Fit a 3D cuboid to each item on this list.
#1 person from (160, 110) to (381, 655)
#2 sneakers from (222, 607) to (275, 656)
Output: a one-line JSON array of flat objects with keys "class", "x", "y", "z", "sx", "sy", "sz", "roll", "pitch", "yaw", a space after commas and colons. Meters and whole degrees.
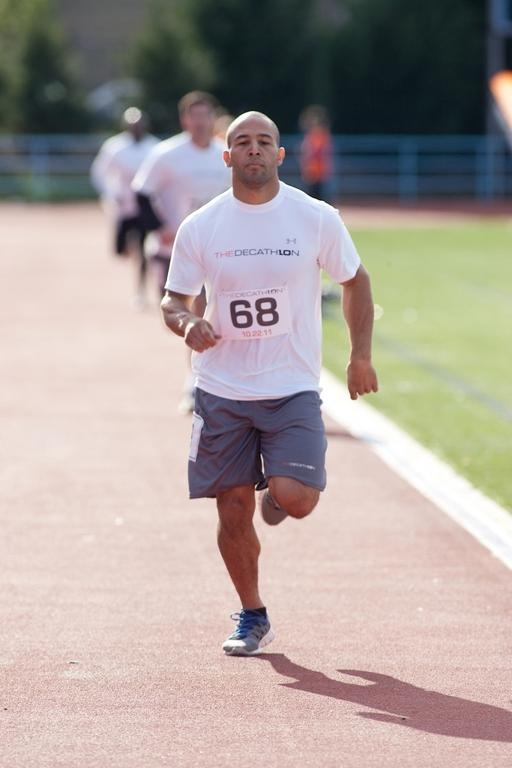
[{"class": "person", "x": 0.050, "y": -0.003, "z": 3.398, "sx": 0.712, "sy": 1.757, "sz": 0.460, "roll": -2, "pitch": 12, "yaw": -4}, {"class": "sneakers", "x": -0.022, "y": 0.829, "z": 3.441, "sx": 0.090, "sy": 0.091, "sz": 0.214, "roll": 1, "pitch": 4, "yaw": 20}]
